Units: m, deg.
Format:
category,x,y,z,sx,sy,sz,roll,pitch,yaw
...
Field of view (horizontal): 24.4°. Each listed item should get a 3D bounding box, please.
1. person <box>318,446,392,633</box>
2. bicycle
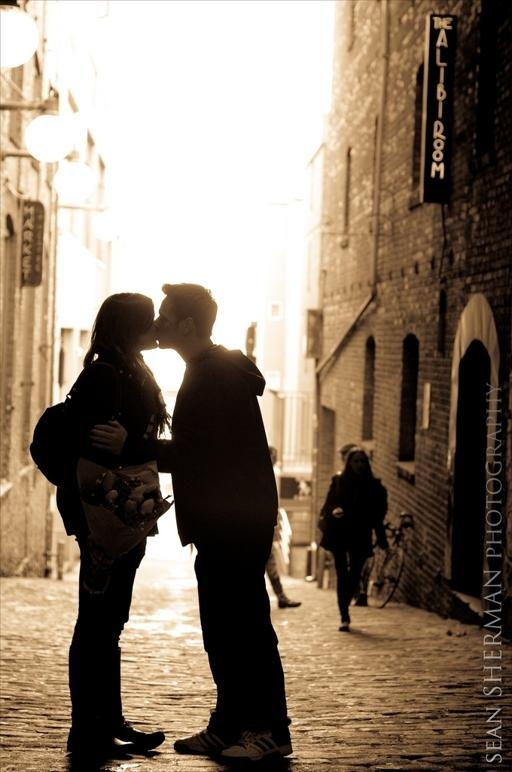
category,x,y,z,sx,sy,sz,roll,pitch,yaw
person,0.604,0.957,7.221,0.349,1.101,0.436,1,-10,25
bicycle,0.807,1.055,7.319,0.150,0.406,0.648,21,-39,-10
